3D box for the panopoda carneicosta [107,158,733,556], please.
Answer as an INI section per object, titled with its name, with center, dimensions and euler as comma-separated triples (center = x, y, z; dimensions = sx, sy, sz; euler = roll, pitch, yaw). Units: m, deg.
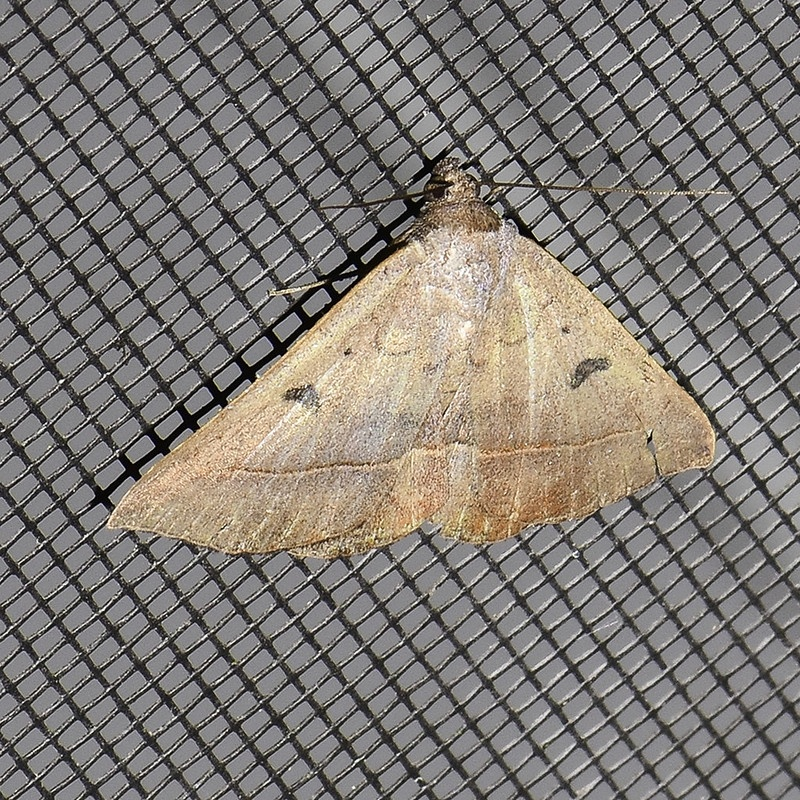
[panopoda carneicosta]
center = 0.045, -0.093, 5.469
dimensions = 2.259, 0.260, 1.310
euler = -3, 96, -8
